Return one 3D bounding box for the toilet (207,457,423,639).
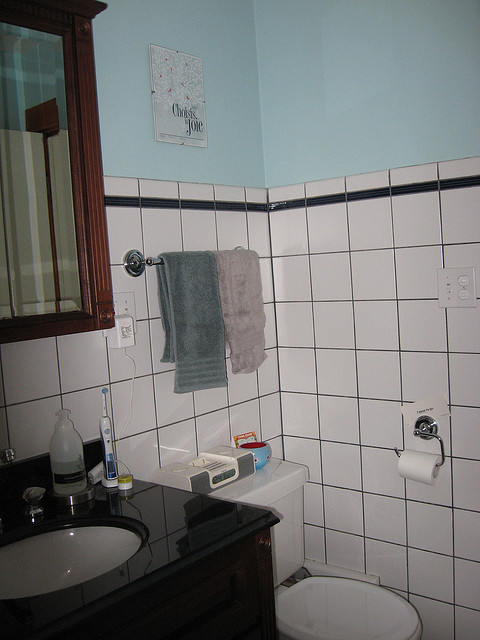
[{"bbox_3d":[0.261,0.704,1.807,0.671,0.653,0.464,4,13,35],"label":"toilet"}]

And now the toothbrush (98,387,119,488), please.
[{"bbox_3d":[-0.339,0.336,1.323,0.043,0.167,0.082,1,3,-17],"label":"toothbrush"}]

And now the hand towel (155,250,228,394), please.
[{"bbox_3d":[-0.135,0.001,1.488,0.197,0.402,0.069,0,4,-32],"label":"hand towel"}]

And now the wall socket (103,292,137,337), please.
[{"bbox_3d":[-0.323,-0.022,1.447,0.065,0.115,0.107,1,3,-12],"label":"wall socket"}]

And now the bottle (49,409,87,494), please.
[{"bbox_3d":[-0.413,0.306,1.219,0.091,0.187,0.077,1,3,-10],"label":"bottle"}]

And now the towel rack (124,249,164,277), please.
[{"bbox_3d":[-0.280,-0.158,1.497,0.110,0.069,0.065,-2,-10,36],"label":"towel rack"}]

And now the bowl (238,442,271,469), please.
[{"bbox_3d":[0.057,0.461,1.776,0.084,0.068,0.085,-2,-6,0],"label":"bowl"}]
